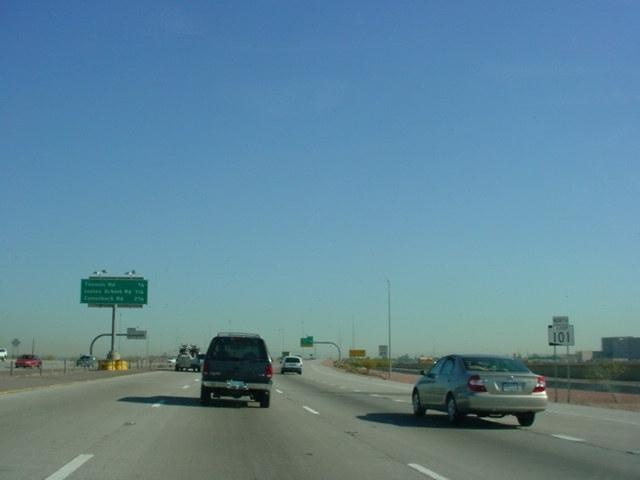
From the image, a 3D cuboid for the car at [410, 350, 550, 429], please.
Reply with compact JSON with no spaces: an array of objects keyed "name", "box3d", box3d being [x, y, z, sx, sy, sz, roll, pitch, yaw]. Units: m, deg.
[{"name":"car","box3d":[4.507,4.299,20.889,2.024,1.965,3.715,12,-18,-39]}]
